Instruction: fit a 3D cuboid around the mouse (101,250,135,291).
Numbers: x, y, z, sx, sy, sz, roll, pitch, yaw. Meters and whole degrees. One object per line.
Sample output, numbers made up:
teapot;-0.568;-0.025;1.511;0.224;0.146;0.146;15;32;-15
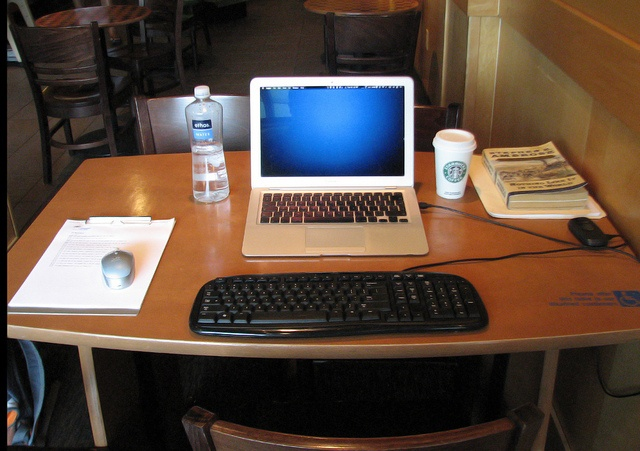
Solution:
mouse;-0.478;0.107;1.174;0.069;0.044;0.089;-1;50;-7

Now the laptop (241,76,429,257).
laptop;0.037;-0.230;1.290;0.513;0.292;0.448;0;13;3

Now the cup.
cup;0.390;-0.171;1.442;0.133;0.172;0.126;0;19;0

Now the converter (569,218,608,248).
converter;0.696;0.019;1.287;0.064;0.032;0.113;-7;36;2

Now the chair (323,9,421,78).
chair;0.312;-1.087;2.982;0.542;0.392;0.293;-4;30;-3
